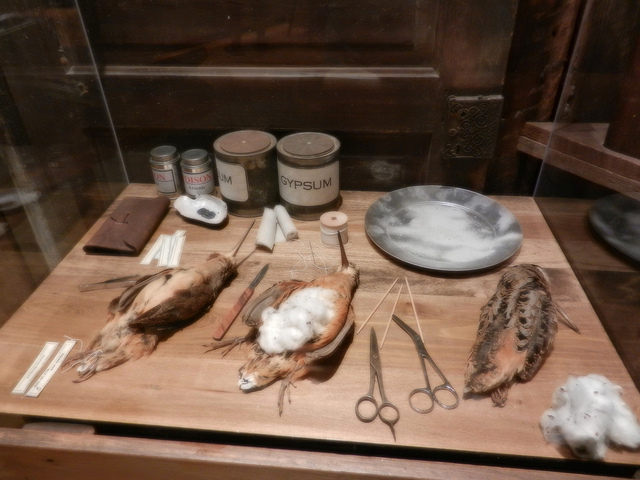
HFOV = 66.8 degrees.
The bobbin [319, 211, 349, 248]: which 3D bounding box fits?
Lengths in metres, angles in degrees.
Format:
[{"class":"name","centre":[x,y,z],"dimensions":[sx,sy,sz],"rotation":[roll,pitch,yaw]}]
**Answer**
[{"class":"bobbin","centre":[0.045,-0.027,1.297],"dimensions":[0.086,0.076,0.081],"rotation":[1,36,7]}]

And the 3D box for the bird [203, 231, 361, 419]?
[{"class":"bird","centre":[-0.022,0.136,1.033],"dimensions":[0.208,0.351,0.337],"rotation":[31,30,22]}]

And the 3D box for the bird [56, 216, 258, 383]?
[{"class":"bird","centre":[-0.344,0.141,1.100],"dimensions":[0.163,0.271,0.486],"rotation":[20,24,31]}]

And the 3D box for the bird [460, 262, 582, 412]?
[{"class":"bird","centre":[0.406,0.178,1.024],"dimensions":[0.179,0.167,0.380],"rotation":[-1,25,42]}]

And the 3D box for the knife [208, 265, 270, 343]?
[{"class":"knife","centre":[-0.170,0.143,1.149],"dimensions":[0.044,0.029,0.294],"rotation":[4,37,23]}]
